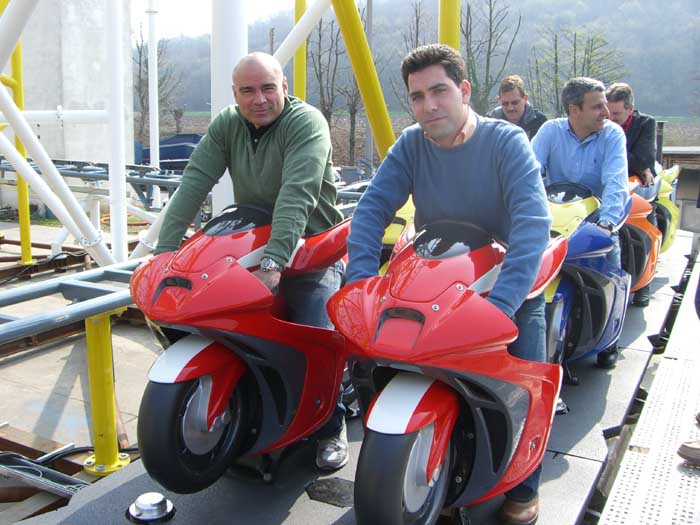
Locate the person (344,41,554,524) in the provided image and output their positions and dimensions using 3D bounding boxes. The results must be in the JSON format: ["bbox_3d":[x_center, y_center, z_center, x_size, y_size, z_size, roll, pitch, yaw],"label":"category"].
[{"bbox_3d":[0.353,-0.329,1.981,0.717,0.916,0.451,5,11,25],"label":"person"}]

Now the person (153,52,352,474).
[{"bbox_3d":[-0.413,0.018,2.345,0.815,1.844,0.632,0,10,0],"label":"person"}]

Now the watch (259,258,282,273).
[{"bbox_3d":[-0.304,0.008,2.065,0.063,0.046,0.069,16,-10,-17],"label":"watch"}]

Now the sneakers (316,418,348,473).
[{"bbox_3d":[-0.078,0.865,2.538,0.093,0.109,0.268,-5,-5,9],"label":"sneakers"}]

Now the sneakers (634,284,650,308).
[{"bbox_3d":[2.428,0.280,4.517,0.180,0.160,0.083,-6,12,-34],"label":"sneakers"}]

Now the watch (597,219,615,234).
[{"bbox_3d":[1.333,-0.190,2.836,0.077,0.046,0.061,18,30,-36],"label":"watch"}]
